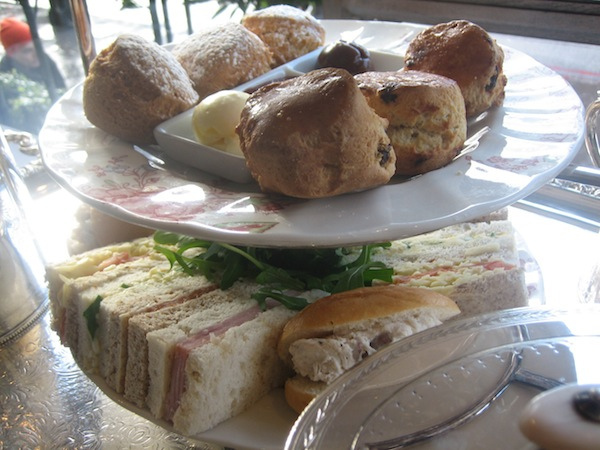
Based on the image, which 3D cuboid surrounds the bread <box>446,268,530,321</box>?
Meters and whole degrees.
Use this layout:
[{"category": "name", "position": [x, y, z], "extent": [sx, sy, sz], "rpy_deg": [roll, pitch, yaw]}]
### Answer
[{"category": "bread", "position": [0.234, 0.083, 0.649], "extent": [0.096, 0.032, 0.071], "rpy_deg": [-10, 5, 6]}]

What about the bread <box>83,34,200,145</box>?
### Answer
[{"category": "bread", "position": [-0.221, -0.183, 0.700], "extent": [0.150, 0.135, 0.078], "rpy_deg": [-13, 36, -19]}]

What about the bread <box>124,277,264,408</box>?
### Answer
[{"category": "bread", "position": [-0.121, 0.139, 0.578], "extent": [0.136, 0.068, 0.041], "rpy_deg": [-19, 28, -39]}]

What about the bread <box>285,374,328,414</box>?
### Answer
[{"category": "bread", "position": [0.003, 0.183, 0.559], "extent": [0.046, 0.043, 0.033], "rpy_deg": [25, 41, 32]}]

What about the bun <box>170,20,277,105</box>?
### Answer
[{"category": "bun", "position": [-0.126, -0.242, 0.819], "extent": [0.144, 0.045, 0.157], "rpy_deg": [-37, 46, -22]}]

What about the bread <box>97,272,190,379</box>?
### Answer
[{"category": "bread", "position": [-0.215, 0.113, 0.632], "extent": [0.119, 0.027, 0.110], "rpy_deg": [-15, 42, -25]}]

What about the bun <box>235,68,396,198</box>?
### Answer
[{"category": "bun", "position": [0.042, -0.082, 0.594], "extent": [0.170, 0.189, 0.096], "rpy_deg": [2, 60, -17]}]

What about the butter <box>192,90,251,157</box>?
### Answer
[{"category": "butter", "position": [-0.107, -0.134, 0.707], "extent": [0.086, 0.081, 0.064], "rpy_deg": [-1, -9, 2]}]

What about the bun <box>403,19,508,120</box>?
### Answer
[{"category": "bun", "position": [0.230, -0.196, 0.738], "extent": [0.136, 0.138, 0.075], "rpy_deg": [-7, -8, 9]}]

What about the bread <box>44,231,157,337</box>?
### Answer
[{"category": "bread", "position": [-0.279, 0.062, 0.746], "extent": [0.166, 0.057, 0.134], "rpy_deg": [-30, 30, -23]}]

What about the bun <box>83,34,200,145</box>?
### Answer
[{"category": "bun", "position": [-0.195, -0.193, 0.681], "extent": [0.155, 0.143, 0.084], "rpy_deg": [-1, 19, 6]}]

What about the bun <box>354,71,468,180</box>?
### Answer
[{"category": "bun", "position": [0.139, -0.127, 0.660], "extent": [0.136, 0.087, 0.134], "rpy_deg": [4, 23, 21]}]

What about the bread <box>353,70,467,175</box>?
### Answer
[{"category": "bread", "position": [0.113, -0.131, 0.680], "extent": [0.172, 0.106, 0.162], "rpy_deg": [1, 14, 3]}]

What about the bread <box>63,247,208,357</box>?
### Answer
[{"category": "bread", "position": [-0.251, 0.099, 0.672], "extent": [0.164, 0.047, 0.153], "rpy_deg": [-19, 14, -29]}]

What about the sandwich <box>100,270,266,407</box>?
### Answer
[{"category": "sandwich", "position": [-0.140, 0.166, 0.631], "extent": [0.151, 0.096, 0.197], "rpy_deg": [22, 31, 35]}]

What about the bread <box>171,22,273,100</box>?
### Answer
[{"category": "bread", "position": [-0.111, -0.254, 0.790], "extent": [0.145, 0.041, 0.130], "rpy_deg": [-23, 47, -24]}]

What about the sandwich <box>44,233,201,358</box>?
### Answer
[{"category": "sandwich", "position": [-0.259, 0.073, 0.738], "extent": [0.179, 0.068, 0.226], "rpy_deg": [25, 28, 11]}]

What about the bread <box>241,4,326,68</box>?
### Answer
[{"category": "bread", "position": [-0.036, -0.318, 0.890], "extent": [0.137, 0.076, 0.132], "rpy_deg": [5, 35, 7]}]

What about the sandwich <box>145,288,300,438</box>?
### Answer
[{"category": "sandwich", "position": [-0.097, 0.161, 0.620], "extent": [0.099, 0.088, 0.193], "rpy_deg": [14, 10, 28]}]

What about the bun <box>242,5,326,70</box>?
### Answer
[{"category": "bun", "position": [-0.029, -0.336, 0.886], "extent": [0.133, 0.076, 0.134], "rpy_deg": [3, 34, 7]}]

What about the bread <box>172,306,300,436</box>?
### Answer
[{"category": "bread", "position": [-0.069, 0.162, 0.609], "extent": [0.060, 0.089, 0.219], "rpy_deg": [10, 15, 38]}]

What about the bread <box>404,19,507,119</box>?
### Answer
[{"category": "bread", "position": [0.228, -0.196, 0.746], "extent": [0.145, 0.135, 0.071], "rpy_deg": [2, -17, 15]}]

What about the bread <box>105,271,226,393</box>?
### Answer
[{"category": "bread", "position": [-0.191, 0.126, 0.612], "extent": [0.143, 0.032, 0.127], "rpy_deg": [-15, 35, -30]}]

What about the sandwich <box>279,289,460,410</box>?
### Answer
[{"category": "sandwich", "position": [0.076, 0.133, 0.593], "extent": [0.213, 0.117, 0.080], "rpy_deg": [-15, 37, -23]}]
